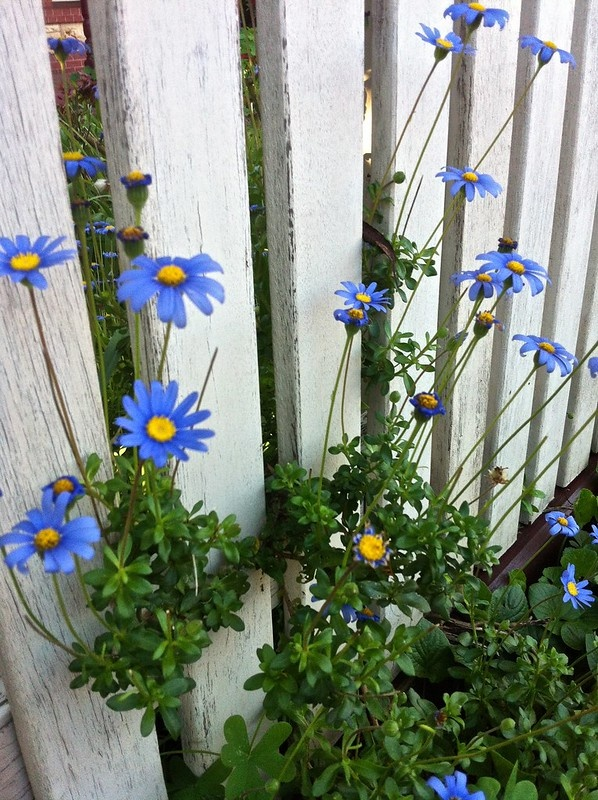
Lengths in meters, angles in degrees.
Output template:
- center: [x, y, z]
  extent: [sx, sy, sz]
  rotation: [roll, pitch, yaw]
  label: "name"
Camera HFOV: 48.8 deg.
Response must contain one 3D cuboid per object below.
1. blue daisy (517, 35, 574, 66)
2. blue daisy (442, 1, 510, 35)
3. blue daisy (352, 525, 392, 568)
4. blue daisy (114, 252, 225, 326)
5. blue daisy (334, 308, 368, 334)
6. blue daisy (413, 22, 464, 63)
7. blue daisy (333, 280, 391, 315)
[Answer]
- center: [0.471, -0.667, 1.256]
  extent: [0.094, 0.049, 0.201]
  rotation: [9, 33, 14]
  label: "blue daisy"
- center: [0.299, -0.632, 1.090]
  extent: [0.113, 0.043, 0.107]
  rotation: [-1, 31, -2]
  label: "blue daisy"
- center: [0.066, 0.138, 0.611]
  extent: [0.038, 0.012, 0.040]
  rotation: [15, 43, -30]
  label: "blue daisy"
- center: [-0.107, -0.108, 0.588]
  extent: [0.070, 0.074, 0.019]
  rotation: [-17, 41, 10]
  label: "blue daisy"
- center: [0.071, -0.110, 0.922]
  extent: [0.040, 0.026, 0.082]
  rotation: [1, 31, 2]
  label: "blue daisy"
- center: [0.238, -0.599, 1.111]
  extent: [0.079, 0.062, 0.182]
  rotation: [5, 32, 9]
  label: "blue daisy"
- center: [0.106, -0.175, 1.045]
  extent: [0.070, 0.024, 0.071]
  rotation: [12, 47, -20]
  label: "blue daisy"
